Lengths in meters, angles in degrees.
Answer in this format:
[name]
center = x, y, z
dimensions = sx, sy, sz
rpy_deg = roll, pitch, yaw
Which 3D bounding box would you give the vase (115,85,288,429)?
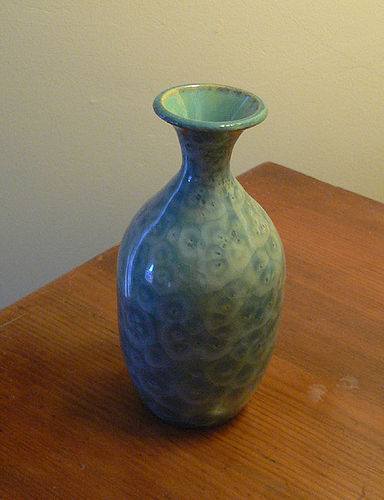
[vase]
center = 0.012, 0.035, 0.605
dimensions = 0.174, 0.405, 0.174
rpy_deg = 21, 33, 23
